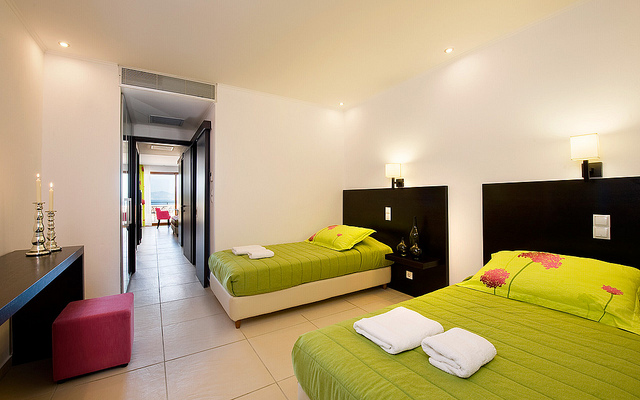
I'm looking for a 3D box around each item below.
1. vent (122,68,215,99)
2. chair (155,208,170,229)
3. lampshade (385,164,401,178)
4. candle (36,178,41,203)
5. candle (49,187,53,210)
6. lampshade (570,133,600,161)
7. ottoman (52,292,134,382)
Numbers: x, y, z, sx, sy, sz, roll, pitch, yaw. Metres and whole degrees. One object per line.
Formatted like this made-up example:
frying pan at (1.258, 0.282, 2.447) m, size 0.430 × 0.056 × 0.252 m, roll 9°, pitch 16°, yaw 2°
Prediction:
vent at (-2.231, -1.694, 5.749) m, size 1.381 × 0.263 × 0.191 m, roll -1°, pitch 7°, yaw -42°
chair at (-5.212, 0.649, 12.866) m, size 0.540 × 0.774 × 0.617 m, roll 0°, pitch -1°, yaw -18°
lampshade at (1.107, -0.440, 5.880) m, size 0.198 × 0.222 × 0.197 m, roll -1°, pitch 3°, yaw 1°
candle at (-3.120, -0.097, 4.312) m, size 0.089 × 0.258 × 0.025 m, roll 2°, pitch 3°, yaw 43°
candle at (-3.100, 0.000, 4.471) m, size 0.030 × 0.225 × 0.155 m, roll -2°, pitch 3°, yaw -32°
lampshade at (2.944, -0.583, 4.306) m, size 0.332 × 0.353 × 0.204 m, roll -2°, pitch -2°, yaw 43°
ottoman at (-2.484, 1.541, 4.286) m, size 0.742 × 0.731 × 0.230 m, roll -1°, pitch 2°, yaw -18°
